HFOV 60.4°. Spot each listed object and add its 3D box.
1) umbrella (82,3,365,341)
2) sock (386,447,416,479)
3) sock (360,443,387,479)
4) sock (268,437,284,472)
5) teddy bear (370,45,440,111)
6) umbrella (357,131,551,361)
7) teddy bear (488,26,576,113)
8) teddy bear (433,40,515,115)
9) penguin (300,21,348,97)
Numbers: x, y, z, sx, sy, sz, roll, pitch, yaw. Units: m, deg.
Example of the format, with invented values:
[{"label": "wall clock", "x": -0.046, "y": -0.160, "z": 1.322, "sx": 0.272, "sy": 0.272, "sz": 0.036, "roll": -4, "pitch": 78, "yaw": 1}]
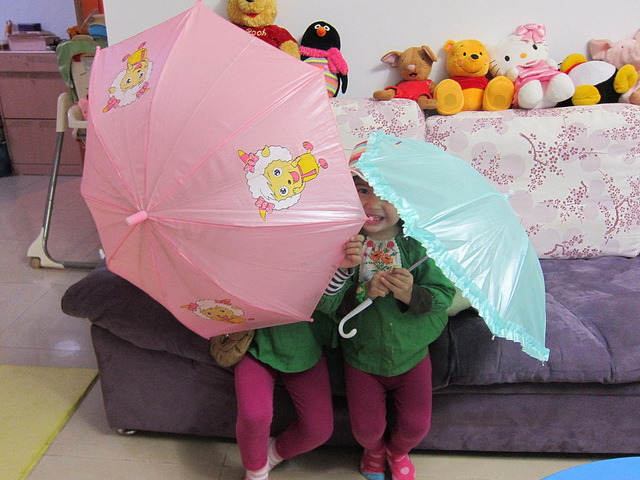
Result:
[{"label": "umbrella", "x": -0.200, "y": -0.262, "z": 1.727, "sx": 0.848, "sy": 0.857, "sz": 0.615, "roll": -25, "pitch": 7, "yaw": 38}, {"label": "sock", "x": 0.280, "y": 0.785, "z": 1.901, "sx": 0.107, "sy": 0.117, "sz": 0.060, "roll": 3, "pitch": 17, "yaw": 7}, {"label": "sock", "x": 0.194, "y": 0.768, "z": 1.940, "sx": 0.054, "sy": 0.065, "sz": 0.151, "roll": 1, "pitch": 18, "yaw": 2}, {"label": "sock", "x": -0.154, "y": 0.741, "z": 1.924, "sx": 0.038, "sy": 0.128, "sz": 0.049, "roll": -1, "pitch": 9, "yaw": -39}, {"label": "teddy bear", "x": 0.405, "y": -0.740, "z": 2.477, "sx": 0.276, "sy": 0.266, "sz": 0.233, "roll": 7, "pitch": 13, "yaw": 16}, {"label": "umbrella", "x": 0.372, "y": 0.020, "z": 1.552, "sx": 0.566, "sy": 0.593, "sz": 0.340, "roll": 7, "pitch": 18, "yaw": 20}, {"label": "teddy bear", "x": 0.927, "y": -0.782, "z": 2.471, "sx": 0.325, "sy": 0.401, "sz": 0.320, "roll": -9, "pitch": 7, "yaw": 20}, {"label": "teddy bear", "x": 0.704, "y": -0.752, "z": 2.512, "sx": 0.337, "sy": 0.339, "sz": 0.294, "roll": 2, "pitch": 21, "yaw": 14}, {"label": "penguin", "x": 0.019, "y": -0.819, "z": 2.481, "sx": 0.218, "sy": 0.333, "sz": 0.210, "roll": 1, "pitch": 17, "yaw": 1}]
